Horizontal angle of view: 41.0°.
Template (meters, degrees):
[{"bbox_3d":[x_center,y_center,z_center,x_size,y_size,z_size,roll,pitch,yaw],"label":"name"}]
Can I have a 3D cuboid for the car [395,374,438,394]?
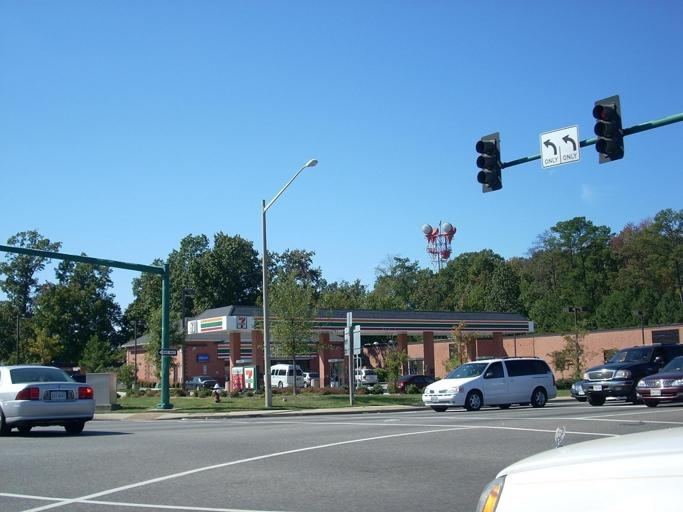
[{"bbox_3d":[3.929,6.925,49.859,1.910,0.722,0.875,0,-1,-43],"label":"car"}]

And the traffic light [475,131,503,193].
[{"bbox_3d":[4.041,-2.644,25.078,0.646,1.651,0.598,-3,-9,12],"label":"traffic light"}]

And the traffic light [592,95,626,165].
[{"bbox_3d":[6.636,-3.168,22.763,0.676,1.796,0.857,-4,-10,18],"label":"traffic light"}]

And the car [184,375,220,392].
[{"bbox_3d":[-11.067,9.866,71.750,2.160,1.225,5.207,1,-12,-14],"label":"car"}]

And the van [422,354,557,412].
[{"bbox_3d":[5.253,4.841,32.475,4.440,1.876,2.111,8,-16,-34],"label":"van"}]
